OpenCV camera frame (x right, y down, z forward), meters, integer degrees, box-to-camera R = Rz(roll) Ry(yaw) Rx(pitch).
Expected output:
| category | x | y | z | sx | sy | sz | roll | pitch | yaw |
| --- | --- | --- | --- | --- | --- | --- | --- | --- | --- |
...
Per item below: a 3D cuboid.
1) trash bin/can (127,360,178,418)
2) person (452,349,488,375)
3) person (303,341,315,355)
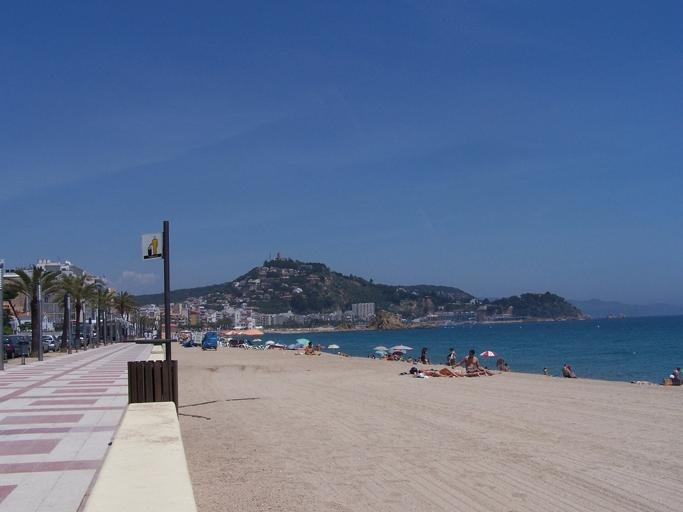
| category | x | y | z | sx | sy | sz | roll | pitch | yaw |
| --- | --- | --- | --- | --- | --- | --- | --- | --- | --- |
| trash bin/can | -3.618 | 2.530 | 10.981 | 0.943 | 1.318 | 0.918 | 1 | -7 | -9 |
| person | 5.640 | 4.673 | 24.923 | 1.313 | 1.099 | 2.490 | -4 | -8 | 15 |
| person | -3.182 | 9.259 | 56.936 | 1.062 | 1.254 | 2.300 | 2 | -4 | -1 |
